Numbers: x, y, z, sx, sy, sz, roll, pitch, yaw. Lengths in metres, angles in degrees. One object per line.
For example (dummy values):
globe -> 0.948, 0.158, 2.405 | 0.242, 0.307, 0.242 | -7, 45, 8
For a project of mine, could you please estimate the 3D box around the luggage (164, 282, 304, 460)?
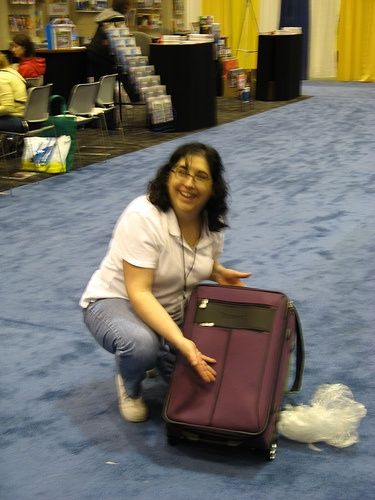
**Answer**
luggage -> 0.123, 0.323, 1.199 | 0.294, 0.430, 0.459 | 2, 11, 23

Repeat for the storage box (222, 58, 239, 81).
storage box -> 1.066, -4.652, 10.894 | 0.377, 0.485, 0.501 | -2, 11, 4

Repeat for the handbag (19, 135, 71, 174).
handbag -> -1.813, -1.219, 5.495 | 0.588, 0.492, 0.182 | 5, 0, 19

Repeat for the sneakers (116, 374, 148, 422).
sneakers -> -0.184, 0.479, 1.405 | 0.069, 0.042, 0.163 | -1, 26, -27

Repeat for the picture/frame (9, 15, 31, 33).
picture/frame -> -4.154, -5.568, 10.599 | 0.152, 0.383, 0.627 | -6, 21, 31

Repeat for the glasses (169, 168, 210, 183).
glasses -> 0.003, -0.218, 1.258 | 0.111, 0.043, 0.047 | 3, 12, 27
